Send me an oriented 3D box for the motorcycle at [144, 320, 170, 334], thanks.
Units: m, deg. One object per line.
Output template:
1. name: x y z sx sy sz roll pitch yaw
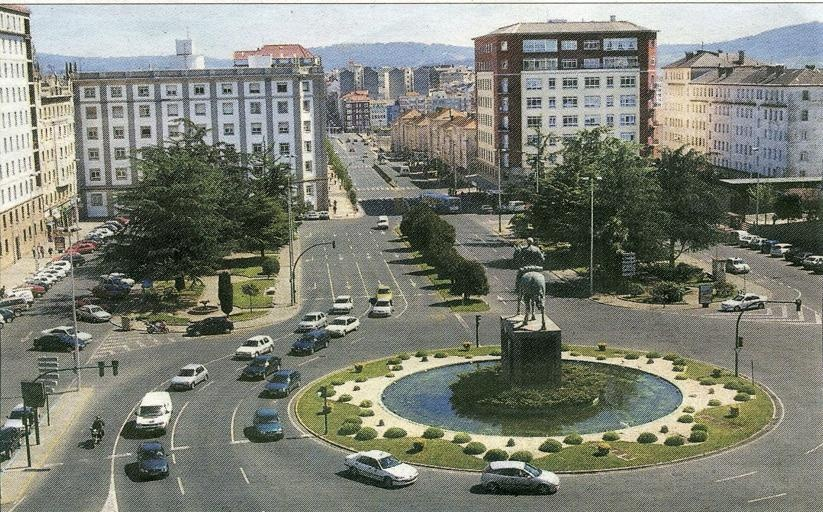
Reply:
1. motorcycle: -26.152 7.553 112.176 2.145 1.190 1.239 6 -28 -3

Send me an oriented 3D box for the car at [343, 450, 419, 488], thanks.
1. car: -2.276 17.000 85.226 5.406 1.667 2.522 4 10 31

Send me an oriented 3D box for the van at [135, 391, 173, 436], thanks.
1. van: -21.910 13.439 92.460 2.819 1.991 4.497 -2 18 -3

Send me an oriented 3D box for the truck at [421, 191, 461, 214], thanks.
1. truck: 5.412 -8.121 170.024 5.158 2.627 2.479 -2 10 -1
